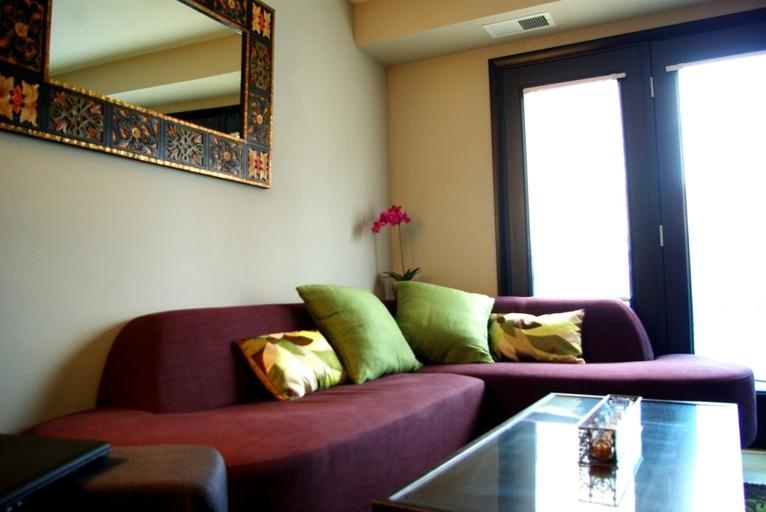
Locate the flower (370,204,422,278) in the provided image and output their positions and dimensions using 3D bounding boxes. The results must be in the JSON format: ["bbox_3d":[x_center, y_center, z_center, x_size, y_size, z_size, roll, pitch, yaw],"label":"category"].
[{"bbox_3d":[0.097,-0.101,4.198,0.343,0.601,0.462,-1,2,16],"label":"flower"}]
